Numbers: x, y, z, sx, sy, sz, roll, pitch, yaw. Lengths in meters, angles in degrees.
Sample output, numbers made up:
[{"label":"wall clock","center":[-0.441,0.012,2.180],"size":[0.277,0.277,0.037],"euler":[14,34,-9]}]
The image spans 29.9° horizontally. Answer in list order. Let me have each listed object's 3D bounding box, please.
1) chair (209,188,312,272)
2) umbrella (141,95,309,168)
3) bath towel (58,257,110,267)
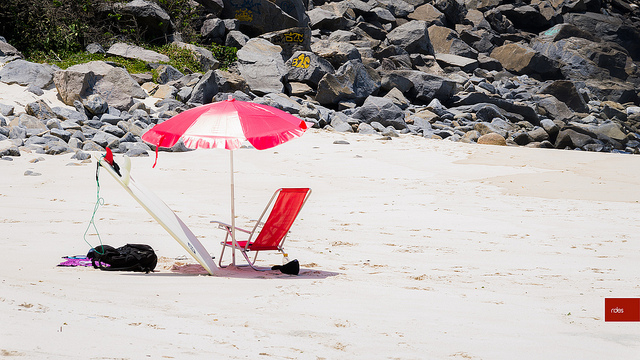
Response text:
[{"label":"chair","center":[-2.039,1.711,44.408],"size":[3.067,3.025,2.146],"euler":[3,20,-8]},{"label":"umbrella","center":[-3.217,-2.078,45.646],"size":[6.462,1.952,6.302],"euler":[-7,12,-35]},{"label":"bath towel","center":[-8.715,3.006,43.754],"size":[1.687,0.259,0.341],"euler":[4,18,0]}]
